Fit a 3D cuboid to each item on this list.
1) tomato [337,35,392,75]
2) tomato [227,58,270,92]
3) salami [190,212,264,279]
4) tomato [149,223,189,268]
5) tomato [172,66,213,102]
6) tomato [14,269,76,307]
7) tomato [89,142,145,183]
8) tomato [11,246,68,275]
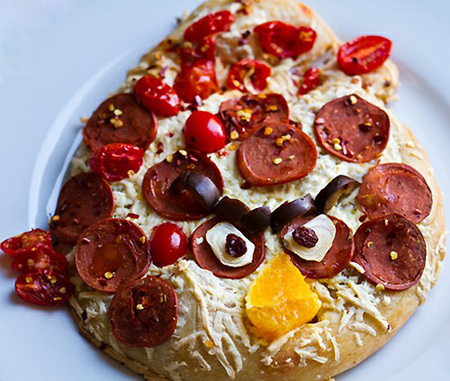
[{"bbox_3d":[1.082,-1.064,4.609,0.437,0.135,0.283,-23,75,-11],"label":"tomato"},{"bbox_3d":[0.186,-0.890,4.619,0.311,0.127,0.299,27,72,5],"label":"tomato"},{"bbox_3d":[0.012,0.391,3.896,0.497,0.082,0.386,21,72,2],"label":"salami"},{"bbox_3d":[-0.369,0.360,3.949,0.246,0.147,0.260,-23,72,6],"label":"tomato"},{"bbox_3d":[-0.244,-0.813,4.508,0.296,0.114,0.285,13,72,0],"label":"tomato"},{"bbox_3d":[-1.209,0.664,3.974,0.342,0.092,0.228,11,84,-10],"label":"tomato"},{"bbox_3d":[-0.750,-0.209,4.132,0.392,0.134,0.252,-23,75,-11],"label":"tomato"},{"bbox_3d":[-1.255,0.528,4.116,0.415,0.329,0.098,7,58,-15],"label":"tomato"}]
